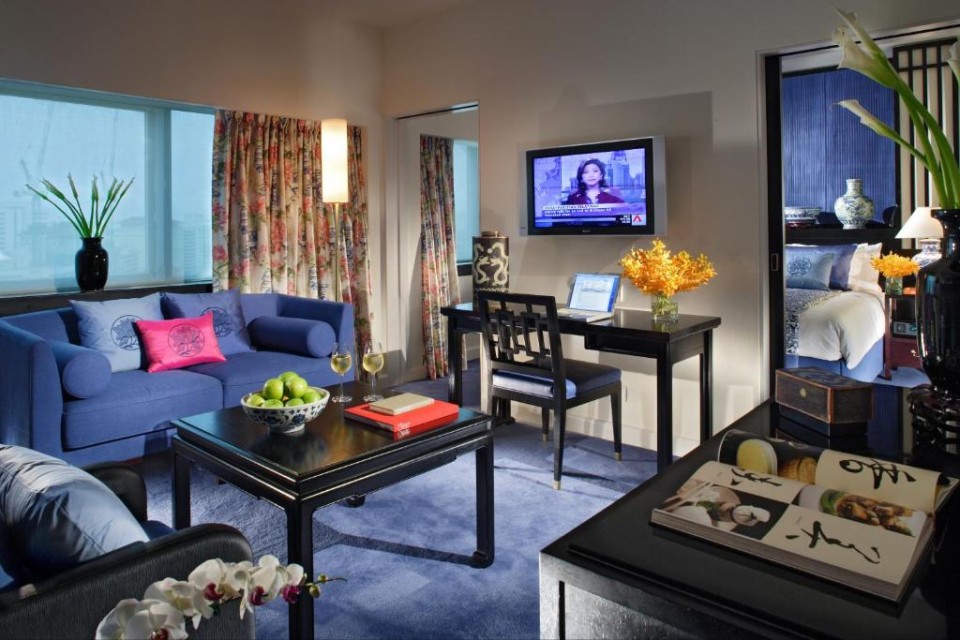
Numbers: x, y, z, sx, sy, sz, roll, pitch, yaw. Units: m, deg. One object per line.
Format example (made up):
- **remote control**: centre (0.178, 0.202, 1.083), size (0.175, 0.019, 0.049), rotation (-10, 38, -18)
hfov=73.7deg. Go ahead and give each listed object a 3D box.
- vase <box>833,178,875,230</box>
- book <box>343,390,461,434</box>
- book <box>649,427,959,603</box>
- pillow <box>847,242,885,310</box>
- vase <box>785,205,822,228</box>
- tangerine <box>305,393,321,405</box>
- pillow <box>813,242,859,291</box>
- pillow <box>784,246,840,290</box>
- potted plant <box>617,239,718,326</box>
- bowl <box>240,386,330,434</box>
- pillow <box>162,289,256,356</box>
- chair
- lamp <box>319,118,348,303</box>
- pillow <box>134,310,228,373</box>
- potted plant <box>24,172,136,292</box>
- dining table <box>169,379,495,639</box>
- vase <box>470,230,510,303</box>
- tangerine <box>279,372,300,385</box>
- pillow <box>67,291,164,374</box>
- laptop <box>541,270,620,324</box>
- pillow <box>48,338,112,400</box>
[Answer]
- **vase**: centre (2.763, -0.852, 4.761), size (0.325, 0.452, 0.340), rotation (0, 6, 12)
- **book**: centre (-0.302, 0.406, 2.795), size (0.230, 0.050, 0.247), rotation (-8, 13, -40)
- **book**: centre (0.636, 0.306, 1.216), size (0.317, 0.063, 0.357), rotation (6, 12, 33)
- **pillow**: centre (2.803, -0.372, 4.699), size (0.114, 0.388, 0.338), rotation (-3, 36, -8)
- **vase**: centre (2.443, -0.781, 4.848), size (0.279, 0.129, 0.280), rotation (-1, 3, -16)
- **tangerine**: centre (-0.706, 0.328, 2.704), size (0.042, 0.043, 0.042), rotation (-1, 35, 10)
- **pillow**: centre (2.640, -0.383, 4.739), size (0.130, 0.284, 0.342), rotation (-10, 4, -31)
- **pillow**: centre (2.483, -0.380, 4.765), size (0.338, 0.241, 0.125), rotation (3, 10, 45)
- **potted plant**: centre (1.123, -0.205, 3.814), size (0.387, 0.367, 0.424), rotation (25, 48, 39)
- **bowl**: centre (-0.844, 0.395, 2.784), size (0.362, 0.143, 0.364), rotation (1, 9, 0)
- **pillow**: centre (-1.814, 0.011, 4.427), size (0.151, 0.461, 0.483), rotation (-24, -12, 33)
- **chair**: centre (0.422, 0.340, 3.914), size (0.622, 1.103, 0.706), rotation (7, 12, 42)
- **lamp**: centre (-1.147, -0.839, 5.096), size (0.185, 1.456, 0.602), rotation (-3, 11, -13)
- **pillow**: centre (-1.923, 0.141, 4.153), size (0.213, 0.346, 0.496), rotation (5, 10, 41)
- **potted plant**: centre (-2.575, -0.574, 4.208), size (0.513, 0.682, 0.569), rotation (0, 5, -17)
- **dining table**: centre (-0.690, 0.547, 2.686), size (0.987, 0.629, 0.960), rotation (3, 5, 43)
- **vase**: centre (-0.017, -0.363, 4.630), size (0.299, 0.547, 0.302), rotation (-1, 5, 18)
- **tangerine**: centre (-0.825, 0.245, 2.779), size (0.078, 0.059, 0.061), rotation (-14, 2, -23)
- **pillow**: centre (-2.190, 0.068, 4.045), size (0.490, 0.409, 0.235), rotation (-8, 23, -9)
- **laptop**: centre (0.694, -0.158, 4.085), size (0.367, 0.262, 0.322), rotation (6, 9, 43)
- **pillow**: centre (-2.160, 0.235, 3.528), size (0.352, 0.305, 0.289), rotation (7, 9, 35)
